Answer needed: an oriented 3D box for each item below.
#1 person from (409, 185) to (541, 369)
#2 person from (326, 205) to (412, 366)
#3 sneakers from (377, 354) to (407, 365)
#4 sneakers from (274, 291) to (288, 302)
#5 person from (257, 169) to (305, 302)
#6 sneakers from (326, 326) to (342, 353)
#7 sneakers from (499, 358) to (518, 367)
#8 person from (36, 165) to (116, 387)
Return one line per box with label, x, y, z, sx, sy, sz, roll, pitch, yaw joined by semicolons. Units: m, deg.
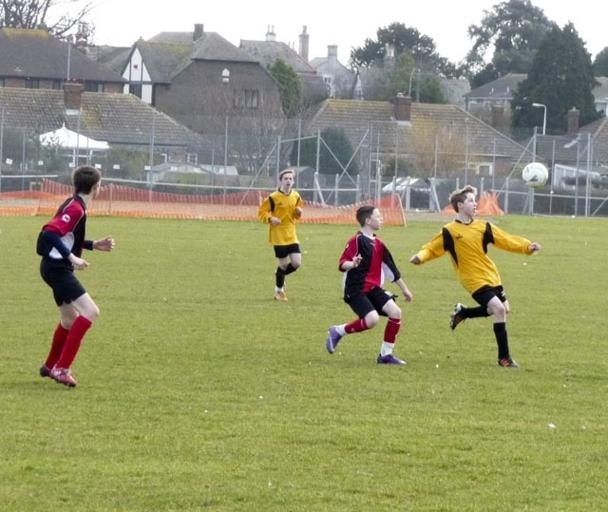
person;1.958;0.179;13.486;1.219;1.888;0.756;7;15;21
person;0.749;0.311;13.466;0.926;1.667;0.720;3;14;9
sneakers;0.993;1.155;13.300;0.317;0.142;0.124;0;2;3
sneakers;-0.319;0.561;16.840;0.195;0.160;0.314;1;15;-2
person;-0.336;-0.355;17.172;0.599;1.731;1.105;1;14;-2
sneakers;0.350;0.960;13.674;0.147;0.359;0.123;7;-2;17
sneakers;2.270;1.195;13.229;0.092;0.091;0.174;-1;-8;-12
person;-2.424;0.196;12.322;0.727;2.196;0.885;0;14;-4
